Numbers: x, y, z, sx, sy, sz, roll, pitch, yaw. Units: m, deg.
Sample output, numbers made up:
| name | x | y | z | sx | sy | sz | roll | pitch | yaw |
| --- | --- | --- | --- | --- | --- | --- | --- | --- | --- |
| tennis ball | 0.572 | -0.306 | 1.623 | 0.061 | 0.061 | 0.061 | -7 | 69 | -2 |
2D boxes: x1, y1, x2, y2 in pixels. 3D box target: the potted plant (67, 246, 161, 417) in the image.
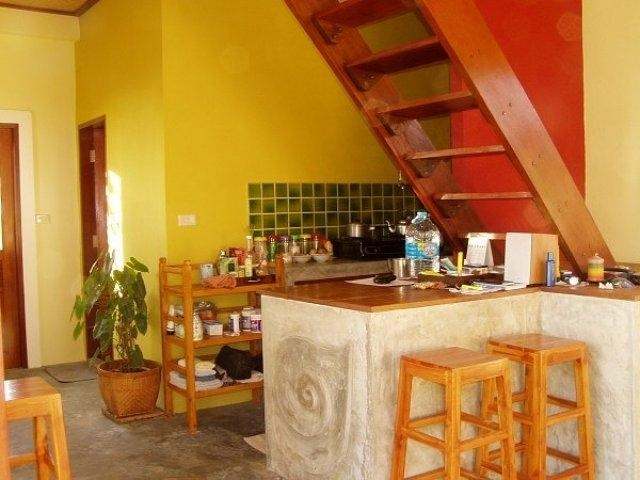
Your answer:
| name | x | y | z | sx | sy | sz | roll | pitch | yaw |
| --- | --- | --- | --- | --- | --- | --- | --- | --- | --- |
| potted plant | -1.896 | 0.785 | 4.798 | 0.644 | 1.367 | 1.515 | -4 | 4 | -26 |

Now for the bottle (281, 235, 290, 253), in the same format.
| name | x | y | z | sx | sy | sz | roll | pitch | yaw |
| --- | --- | --- | --- | --- | --- | --- | --- | --- | --- |
| bottle | -0.325 | 0.041 | 4.857 | 0.087 | 0.151 | 0.044 | -2 | 4 | -6 |

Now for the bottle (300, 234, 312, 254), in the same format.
| name | x | y | z | sx | sy | sz | roll | pitch | yaw |
| --- | --- | --- | --- | --- | --- | --- | --- | --- | --- |
| bottle | -0.135 | 0.043 | 4.987 | 0.088 | 0.179 | 0.128 | -1 | 4 | 17 |

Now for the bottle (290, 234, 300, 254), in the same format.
| name | x | y | z | sx | sy | sz | roll | pitch | yaw |
| --- | --- | --- | --- | --- | --- | --- | --- | --- | --- |
| bottle | -0.230 | 0.058 | 4.905 | 0.075 | 0.166 | 0.137 | 0 | 4 | 22 |

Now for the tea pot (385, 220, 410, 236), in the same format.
| name | x | y | z | sx | sy | sz | roll | pitch | yaw |
| --- | --- | --- | --- | --- | --- | --- | --- | --- | --- |
| tea pot | 0.788 | -0.123 | 5.391 | 0.220 | 0.150 | 0.127 | -2 | 6 | -18 |

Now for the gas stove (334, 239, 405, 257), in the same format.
| name | x | y | z | sx | sy | sz | roll | pitch | yaw |
| --- | --- | --- | --- | --- | --- | --- | --- | --- | --- |
| gas stove | 0.454 | 0.079 | 4.995 | 0.692 | 0.200 | 0.328 | -1 | 4 | 7 |
